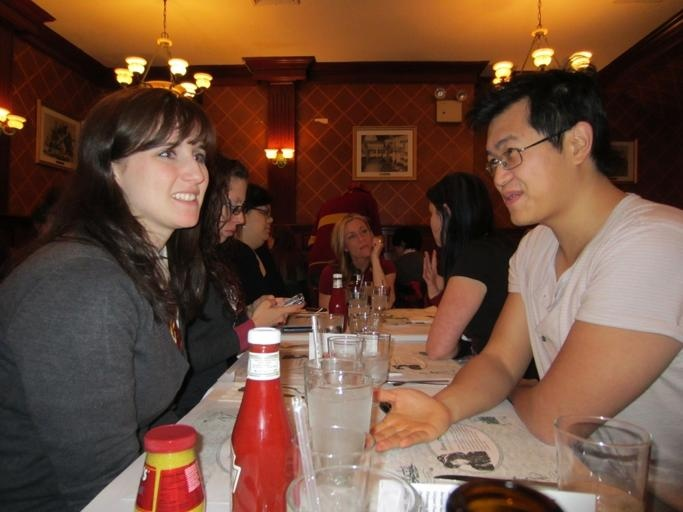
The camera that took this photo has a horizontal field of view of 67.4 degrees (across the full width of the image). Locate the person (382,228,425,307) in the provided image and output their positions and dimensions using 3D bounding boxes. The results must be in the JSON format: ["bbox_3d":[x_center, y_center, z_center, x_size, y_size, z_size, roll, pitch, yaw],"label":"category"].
[{"bbox_3d":[0.627,0.215,4.915,0.337,1.071,0.323,-3,19,3],"label":"person"}]

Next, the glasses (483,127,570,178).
[{"bbox_3d":[0.616,-0.325,1.702,0.148,0.046,0.142,-32,4,-15],"label":"glasses"}]

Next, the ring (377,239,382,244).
[{"bbox_3d":[0.310,-0.124,4.107,0.037,0.025,0.056,-2,-8,25],"label":"ring"}]

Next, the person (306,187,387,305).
[{"bbox_3d":[0.099,-0.147,6.193,0.893,1.292,0.710,-6,-27,31],"label":"person"}]

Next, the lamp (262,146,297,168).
[{"bbox_3d":[-0.856,-1.413,7.196,0.349,0.259,0.283,0,13,0],"label":"lamp"}]

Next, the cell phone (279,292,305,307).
[{"bbox_3d":[-0.223,0.210,2.455,0.094,0.049,0.054,-5,47,-7],"label":"cell phone"}]

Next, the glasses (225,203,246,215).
[{"bbox_3d":[-0.596,-0.268,2.885,0.124,0.037,0.124,5,3,32],"label":"glasses"}]
